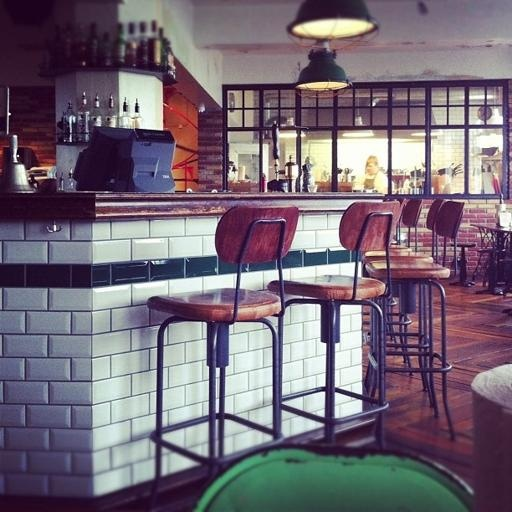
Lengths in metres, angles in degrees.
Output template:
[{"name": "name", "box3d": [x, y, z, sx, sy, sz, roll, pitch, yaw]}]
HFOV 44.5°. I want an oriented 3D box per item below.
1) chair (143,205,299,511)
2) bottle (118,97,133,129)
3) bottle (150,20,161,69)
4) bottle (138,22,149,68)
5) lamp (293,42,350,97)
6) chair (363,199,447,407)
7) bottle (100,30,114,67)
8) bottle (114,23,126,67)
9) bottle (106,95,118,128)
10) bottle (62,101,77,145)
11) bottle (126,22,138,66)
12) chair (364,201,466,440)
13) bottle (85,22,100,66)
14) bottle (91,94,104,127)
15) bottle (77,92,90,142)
[{"name": "chair", "box3d": [-0.107, 0.337, 2.117, 0.558, 1.005, 0.566, -4, 4, -11]}, {"name": "bottle", "box3d": [-1.046, -1.137, 4.957, 0.109, 0.263, 0.218, -4, 4, -12]}, {"name": "bottle", "box3d": [-0.806, -1.680, 4.957, 0.092, 0.429, 0.226, -4, 4, -6]}, {"name": "bottle", "box3d": [-0.886, -1.649, 4.860, 0.085, 0.372, 0.121, -4, 4, -6]}, {"name": "lamp", "box3d": [0.619, -1.650, 5.786, 0.509, 0.574, 0.540, 0, -1, 7]}, {"name": "chair", "box3d": [0.821, 0.287, 3.447, 0.387, 0.639, 1.318, 1, 3, 7]}, {"name": "bottle", "box3d": [-1.153, -1.578, 4.771, 0.121, 0.242, 0.036, -3, 4, 8]}, {"name": "bottle", "box3d": [-1.046, -1.611, 4.760, 0.102, 0.301, 0.061, -4, 4, -12]}, {"name": "bottle", "box3d": [-1.151, -1.152, 4.945, 0.087, 0.269, 0.178, -4, 4, -12]}, {"name": "bottle", "box3d": [-1.505, -1.068, 5.016, 0.115, 0.350, 0.226, -4, 4, -15]}, {"name": "bottle", "box3d": [-0.968, -1.627, 4.810, 0.093, 0.333, 0.066, -4, 4, -5]}, {"name": "chair", "box3d": [0.895, 0.374, 3.514, 0.482, 0.865, 1.418, 1, 2, 8]}, {"name": "bottle", "box3d": [-1.251, -1.614, 4.772, 0.119, 0.303, 0.049, 0, 5, 36]}, {"name": "bottle", "box3d": [-1.269, -1.157, 4.952, 0.086, 0.257, 0.150, -4, 4, -15]}, {"name": "bottle", "box3d": [-1.385, -1.103, 5.001, 0.108, 0.408, 0.193, -4, 4, -15]}]
